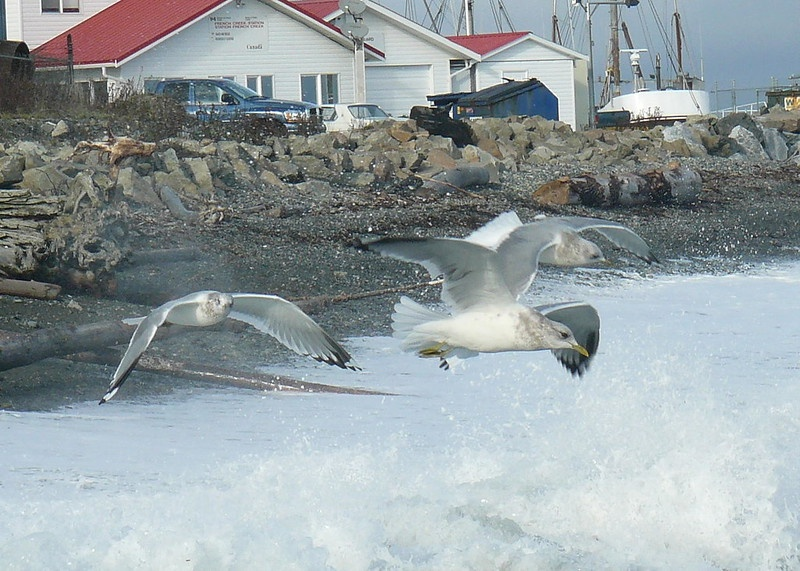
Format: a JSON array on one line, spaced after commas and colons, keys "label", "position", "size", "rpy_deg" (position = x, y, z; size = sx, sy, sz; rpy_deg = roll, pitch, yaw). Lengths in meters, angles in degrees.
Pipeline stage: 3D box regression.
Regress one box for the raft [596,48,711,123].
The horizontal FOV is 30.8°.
[{"label": "raft", "position": [9.423, -7.808, 57.068], "size": [3.207, 3.172, 5.256], "rpy_deg": [-9, 1, -9]}]
